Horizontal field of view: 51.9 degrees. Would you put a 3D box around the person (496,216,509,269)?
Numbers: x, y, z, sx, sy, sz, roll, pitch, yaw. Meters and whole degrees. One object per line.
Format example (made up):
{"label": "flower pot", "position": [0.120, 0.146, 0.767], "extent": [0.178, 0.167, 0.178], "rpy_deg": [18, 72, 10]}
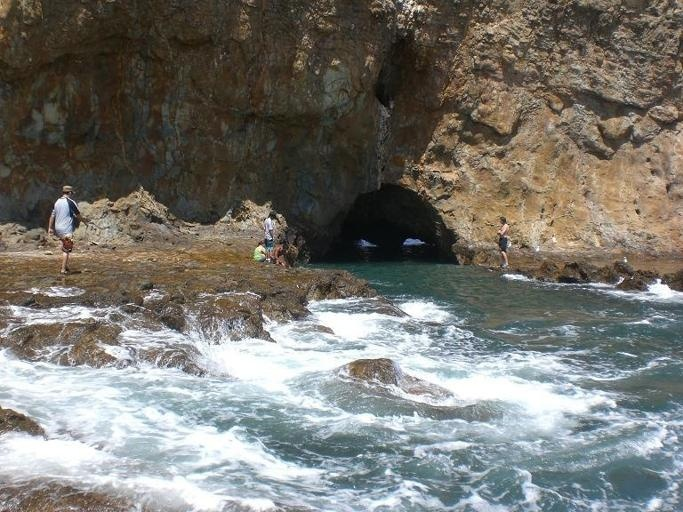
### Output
{"label": "person", "position": [4.859, -0.514, 20.856], "extent": [0.387, 1.362, 2.238], "rpy_deg": [6, 14, 13]}

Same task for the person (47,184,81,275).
{"label": "person", "position": [-5.401, -0.541, 13.720], "extent": [0.576, 1.741, 1.563], "rpy_deg": [-3, 15, -22]}

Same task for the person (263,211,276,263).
{"label": "person", "position": [-1.717, -0.505, 16.705], "extent": [0.227, 1.076, 0.790], "rpy_deg": [1, 14, -8]}
